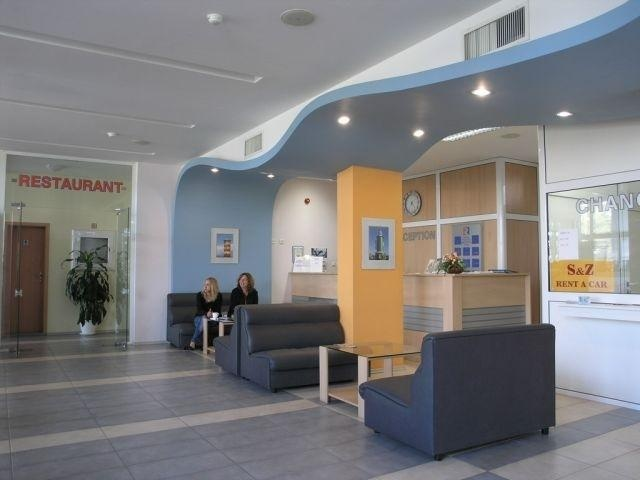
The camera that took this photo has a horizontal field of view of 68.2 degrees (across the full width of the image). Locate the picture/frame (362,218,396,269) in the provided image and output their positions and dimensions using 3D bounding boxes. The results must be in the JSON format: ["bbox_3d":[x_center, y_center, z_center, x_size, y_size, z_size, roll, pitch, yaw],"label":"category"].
[{"bbox_3d":[0.931,0.050,7.455,0.035,0.799,0.640,0,1,-44],"label":"picture/frame"}]

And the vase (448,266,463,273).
[{"bbox_3d":[2.245,0.500,7.721,0.246,0.094,0.257,0,-1,2],"label":"vase"}]

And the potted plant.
[{"bbox_3d":[-5.724,1.249,11.716,1.073,2.129,0.938,1,-1,-25],"label":"potted plant"}]

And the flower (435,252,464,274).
[{"bbox_3d":[2.212,0.418,7.979,0.377,0.274,0.381,3,-7,-12],"label":"flower"}]

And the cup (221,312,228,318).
[{"bbox_3d":[-1.845,1.451,9.119,0.076,0.143,0.080,0,1,0],"label":"cup"}]

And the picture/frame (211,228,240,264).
[{"bbox_3d":[-2.122,0.114,10.415,0.775,1.035,0.077,0,-2,-19],"label":"picture/frame"}]

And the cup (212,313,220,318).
[{"bbox_3d":[-1.956,1.420,8.873,0.104,0.105,0.085,-7,-6,27],"label":"cup"}]

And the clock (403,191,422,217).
[{"bbox_3d":[2.349,-0.921,11.906,0.044,0.649,0.597,1,-1,-34],"label":"clock"}]
